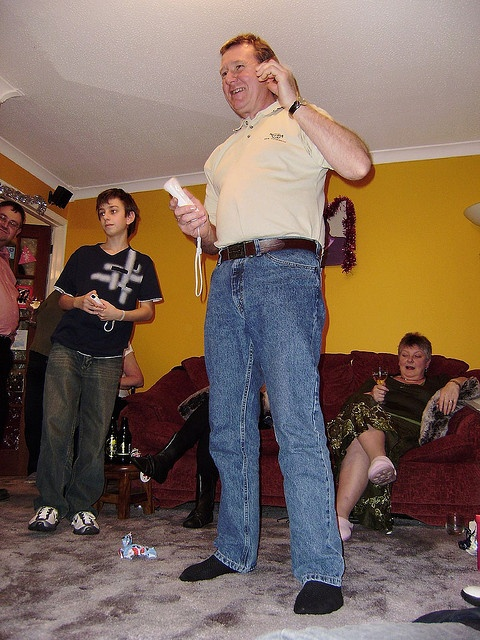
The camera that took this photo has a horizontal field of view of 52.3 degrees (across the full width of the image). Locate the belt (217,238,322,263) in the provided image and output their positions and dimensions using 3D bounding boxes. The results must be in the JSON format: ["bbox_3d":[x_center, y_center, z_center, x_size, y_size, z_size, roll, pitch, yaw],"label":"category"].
[{"bbox_3d":[0.077,-0.189,1.318,0.258,0.063,0.083,3,-8,11],"label":"belt"}]

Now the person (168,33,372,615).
[{"bbox_3d":[0.054,-0.112,1.346,0.572,1.625,0.350,-2,-11,37],"label":"person"}]

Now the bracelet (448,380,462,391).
[{"bbox_3d":[1.128,0.339,2.564,0.037,0.015,0.038,31,-14,26],"label":"bracelet"}]

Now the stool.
[{"bbox_3d":[-0.576,0.840,2.433,0.228,0.232,0.226,-9,-19,24],"label":"stool"}]

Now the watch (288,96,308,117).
[{"bbox_3d":[0.141,-0.542,1.239,0.014,0.045,0.047,24,28,-24],"label":"watch"}]

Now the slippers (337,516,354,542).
[{"bbox_3d":[0.380,0.756,1.773,0.092,0.070,0.232,-2,-21,7],"label":"slippers"}]

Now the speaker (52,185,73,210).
[{"bbox_3d":[-1.765,-1.227,4.840,0.114,0.208,0.218,27,-13,9],"label":"speaker"}]

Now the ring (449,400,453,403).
[{"bbox_3d":[1.058,0.410,2.458,0.010,0.016,0.013,-1,2,-21],"label":"ring"}]

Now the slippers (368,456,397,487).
[{"bbox_3d":[0.578,0.615,1.987,0.074,0.076,0.156,45,-12,37],"label":"slippers"}]

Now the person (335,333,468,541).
[{"bbox_3d":[0.768,0.467,2.429,0.653,0.660,1.369,4,5,30],"label":"person"}]

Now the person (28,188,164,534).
[{"bbox_3d":[-0.649,0.102,2.221,0.452,1.580,0.460,4,-8,6],"label":"person"}]
